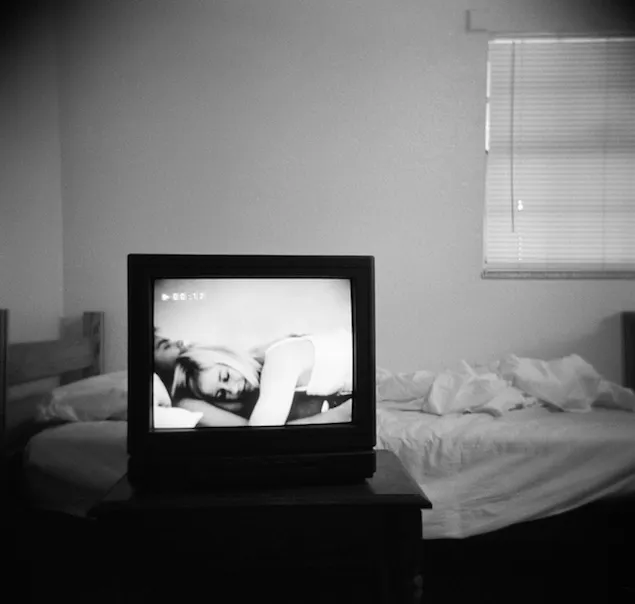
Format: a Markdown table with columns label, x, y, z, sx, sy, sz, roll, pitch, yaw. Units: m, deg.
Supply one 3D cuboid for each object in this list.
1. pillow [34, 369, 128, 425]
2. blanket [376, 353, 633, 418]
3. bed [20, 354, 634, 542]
| label | x | y | z | sx | sy | sz | roll | pitch | yaw |
| --- | --- | --- | --- | --- | --- | --- | --- | --- | --- |
| pillow | -0.751 | 0.310 | 1.997 | 0.279 | 0.151 | 0.099 | 1 | 4 | -8 |
| blanket | 0.603 | 0.279 | 2.062 | 0.507 | 0.140 | 0.352 | 2 | -10 | 1 |
| bed | 0.087 | 0.307 | 2.011 | 1.397 | 0.387 | 0.839 | -1 | 0 | -7 |
